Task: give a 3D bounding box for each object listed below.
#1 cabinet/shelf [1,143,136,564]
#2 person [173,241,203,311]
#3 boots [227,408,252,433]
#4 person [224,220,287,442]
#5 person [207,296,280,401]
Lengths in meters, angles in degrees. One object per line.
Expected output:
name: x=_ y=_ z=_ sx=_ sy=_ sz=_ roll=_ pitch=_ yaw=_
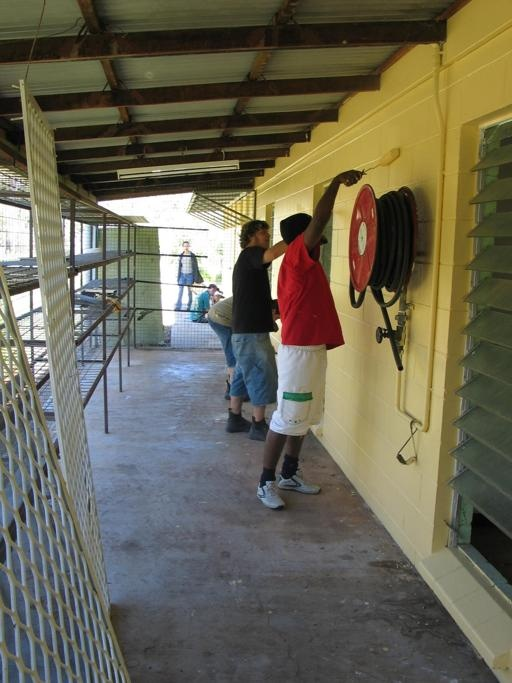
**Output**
cabinet/shelf: x=-1.516 y=-0.455 z=4.408 sx=0.937 sy=2.837 sz=3.042 roll=2 pitch=5 yaw=-14
person: x=-1.470 y=-1.479 z=11.167 sx=0.553 sy=1.837 sz=0.506 roll=4 pitch=8 yaw=-9
boots: x=-0.189 y=0.701 z=4.624 sx=0.298 sy=0.205 sz=0.118 roll=-10 pitch=13 yaw=-34
person: x=0.004 y=-0.034 z=4.106 sx=0.756 sy=1.533 sz=0.556 roll=1 pitch=1 yaw=11
person: x=-0.263 y=0.086 z=5.367 sx=0.696 sy=1.107 sz=0.708 roll=3 pitch=10 yaw=-21
